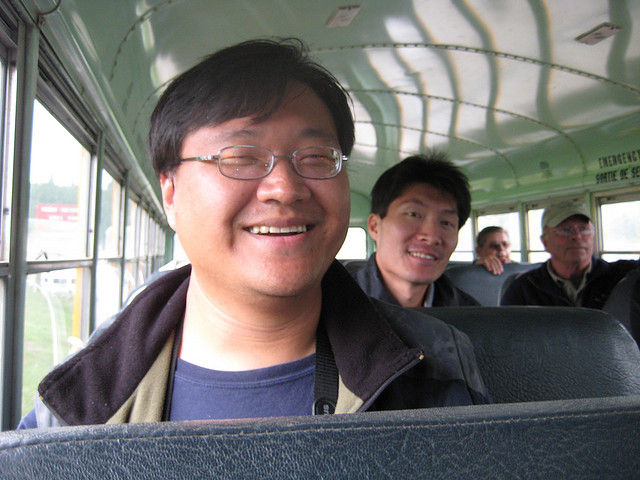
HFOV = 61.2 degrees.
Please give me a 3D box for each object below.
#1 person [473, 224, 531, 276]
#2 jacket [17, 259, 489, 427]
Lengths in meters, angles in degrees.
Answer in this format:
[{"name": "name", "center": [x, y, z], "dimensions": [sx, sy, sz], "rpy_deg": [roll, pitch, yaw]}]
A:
[{"name": "person", "center": [2.508, 0.184, 7.764], "dimensions": [0.435, 0.843, 0.477], "rpy_deg": [-8, -7, 12]}, {"name": "jacket", "center": [-0.234, 0.444, 2.350], "dimensions": [1.901, 0.613, 0.520], "rpy_deg": [-3, 7, -2]}]
